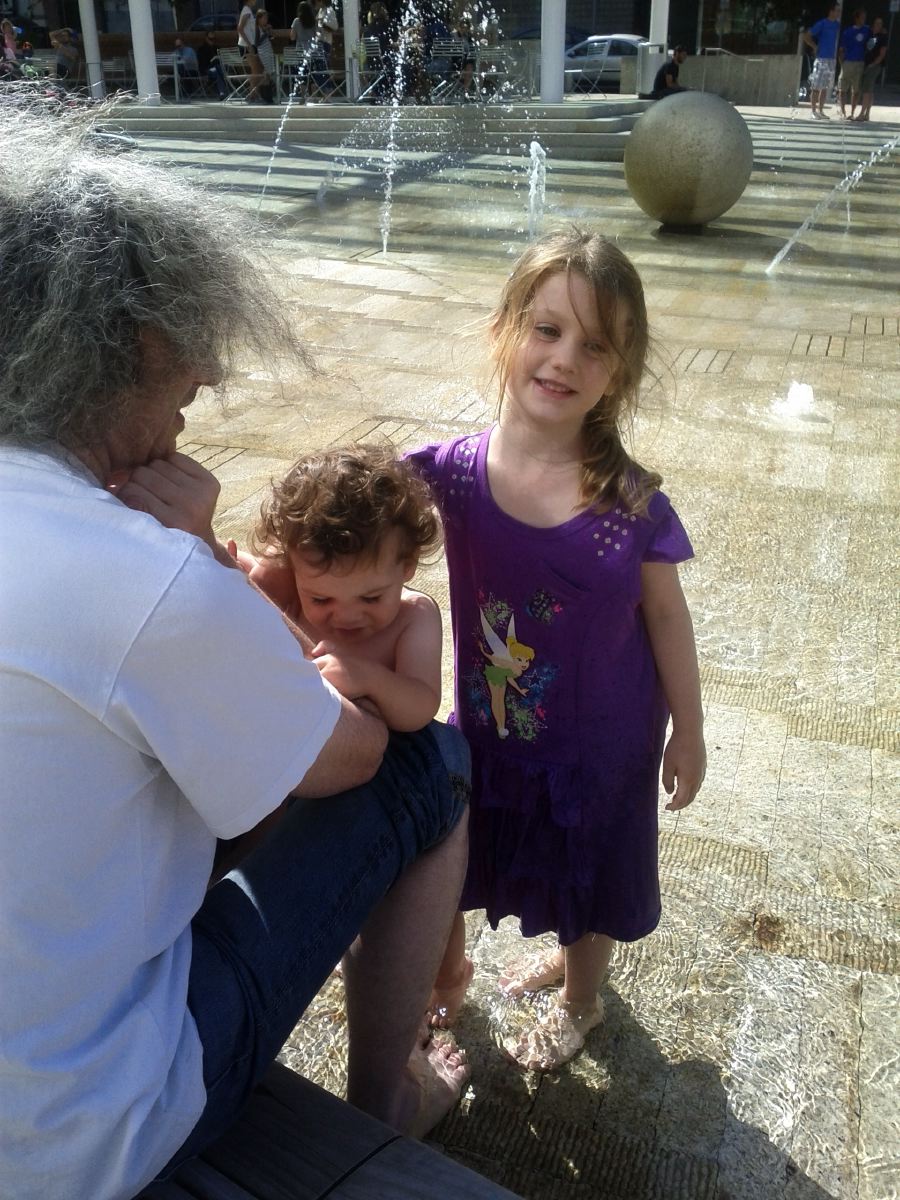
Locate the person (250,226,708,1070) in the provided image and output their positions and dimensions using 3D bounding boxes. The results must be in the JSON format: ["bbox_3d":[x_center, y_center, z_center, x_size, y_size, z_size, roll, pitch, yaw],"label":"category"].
[{"bbox_3d":[0.114,0.130,1.678,0.741,1.411,0.524,1,9,1],"label":"person"}]
